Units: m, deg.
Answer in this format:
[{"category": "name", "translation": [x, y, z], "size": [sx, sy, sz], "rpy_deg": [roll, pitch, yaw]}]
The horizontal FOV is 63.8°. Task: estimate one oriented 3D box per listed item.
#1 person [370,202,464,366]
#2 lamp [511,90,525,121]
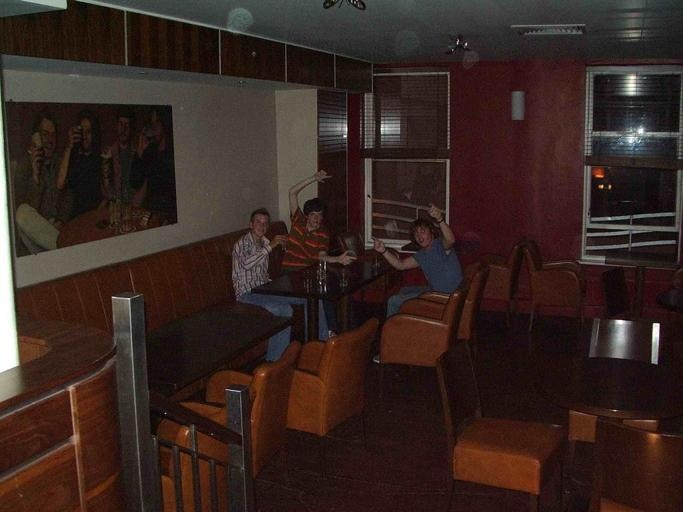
[{"category": "person", "translation": [0.815, 0.268, 5.645], "size": [0.936, 1.617, 0.764], "rpy_deg": [0, 6, -5]}, {"category": "lamp", "translation": [2.302, -1.920, 7.092], "size": [0.184, 0.364, 0.137], "rpy_deg": [3, 13, 16]}]
